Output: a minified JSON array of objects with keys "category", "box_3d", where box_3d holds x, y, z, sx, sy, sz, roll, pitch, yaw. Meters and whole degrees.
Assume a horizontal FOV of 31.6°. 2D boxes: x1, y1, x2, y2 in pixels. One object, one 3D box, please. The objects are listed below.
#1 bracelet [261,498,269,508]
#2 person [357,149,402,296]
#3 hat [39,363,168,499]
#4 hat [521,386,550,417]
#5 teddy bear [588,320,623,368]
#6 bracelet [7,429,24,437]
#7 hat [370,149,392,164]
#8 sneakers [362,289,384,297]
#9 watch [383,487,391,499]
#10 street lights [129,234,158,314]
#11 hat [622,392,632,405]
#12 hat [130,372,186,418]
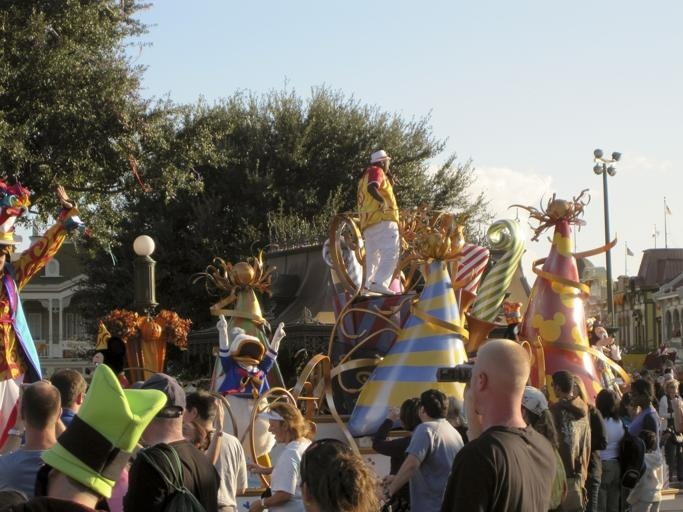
[{"category":"bracelet","box_3d":[-0.718,2.293,11.175,0.031,0.089,0.067,1,-8,6]},{"category":"person","box_3d":[0.464,-0.478,15.641,0.529,1.963,0.718,0,-6,2]},{"category":"hat","box_3d":[-1.961,1.458,9.993,0.817,0.956,0.662,34,-6,-38]},{"category":"hat","box_3d":[1.786,1.350,11.294,0.275,0.237,0.209,19,7,-21]},{"category":"teddy bear","box_3d":[4.195,1.361,19.022,0.273,0.580,0.345,26,6,26]},{"category":"bracelet","box_3d":[-3.310,1.826,12.360,0.113,0.070,0.115,6,-21,-27]},{"category":"hat","box_3d":[0.467,-1.315,15.817,0.326,0.177,0.285,-8,7,7]},{"category":"sneakers","box_3d":[0.377,0.453,15.277,0.240,0.121,0.314,1,-7,0]},{"category":"watch","box_3d":[0.417,2.268,11.489,0.030,0.103,0.106,-3,-7,-1]},{"category":"street lights","box_3d":[-2.734,0.217,16.919,0.341,1.133,0.841,2,-7,-10]},{"category":"hat","box_3d":[3.477,1.767,14.914,0.132,0.137,0.097,-2,0,13]},{"category":"hat","box_3d":[-1.582,1.283,10.929,0.278,0.236,0.444,0,23,-40]}]
